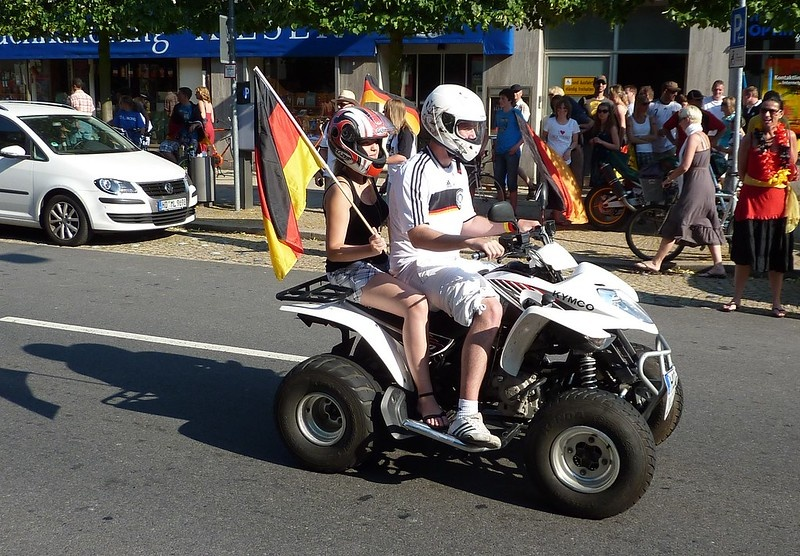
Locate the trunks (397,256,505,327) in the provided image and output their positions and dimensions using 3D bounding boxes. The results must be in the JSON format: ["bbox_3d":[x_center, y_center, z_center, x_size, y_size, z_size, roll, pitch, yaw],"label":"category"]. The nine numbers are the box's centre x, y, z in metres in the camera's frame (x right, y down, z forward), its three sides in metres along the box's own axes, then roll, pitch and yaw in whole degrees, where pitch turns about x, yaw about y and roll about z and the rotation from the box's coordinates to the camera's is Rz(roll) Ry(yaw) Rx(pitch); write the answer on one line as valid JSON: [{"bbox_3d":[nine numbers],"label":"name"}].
[{"bbox_3d":[0.331,0.028,5.512,0.638,0.232,0.378,27,55,28],"label":"trunks"}]

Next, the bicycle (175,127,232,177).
[{"bbox_3d":[-4.248,-2.774,16.739,1.239,0.926,0.856,0,14,9],"label":"bicycle"}]

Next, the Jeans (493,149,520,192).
[{"bbox_3d":[1.933,-1.951,14.175,0.405,1.021,0.297,3,13,19],"label":"Jeans"}]

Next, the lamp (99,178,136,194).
[{"bbox_3d":[-4.485,-1.459,12.264,0.252,0.182,0.410,30,17,13],"label":"lamp"}]

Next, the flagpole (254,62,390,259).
[{"bbox_3d":[-0.884,-1.120,6.361,0.557,0.209,2.541,-15,47,3],"label":"flagpole"}]

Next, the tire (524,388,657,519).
[{"bbox_3d":[1.281,1.191,5.242,0.599,0.692,0.223,-21,-6,20],"label":"tire"}]

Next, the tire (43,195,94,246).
[{"bbox_3d":[-5.290,-0.911,12.392,0.670,0.810,0.235,-3,0,6],"label":"tire"}]

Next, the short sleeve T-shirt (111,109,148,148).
[{"bbox_3d":[-6.489,-3.687,18.683,0.714,0.987,0.419,4,42,-9],"label":"short sleeve T-shirt"}]

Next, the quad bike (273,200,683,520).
[{"bbox_3d":[0.650,0.267,6.179,2.552,2.125,1.937,2,12,19],"label":"quad bike"}]

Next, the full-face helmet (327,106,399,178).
[{"bbox_3d":[-0.326,-1.080,5.914,0.524,0.488,0.420,25,25,27],"label":"full-face helmet"}]

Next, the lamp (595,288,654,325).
[{"bbox_3d":[1.527,0.169,5.349,0.440,0.121,0.206,40,25,-1],"label":"lamp"}]

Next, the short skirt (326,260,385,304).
[{"bbox_3d":[-0.341,-0.027,5.879,0.393,0.173,0.250,23,29,18],"label":"short skirt"}]

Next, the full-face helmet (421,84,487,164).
[{"bbox_3d":[0.396,-1.178,5.657,0.479,0.515,0.446,17,18,12],"label":"full-face helmet"}]

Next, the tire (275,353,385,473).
[{"bbox_3d":[-0.562,0.984,5.876,0.789,0.936,0.356,6,22,16],"label":"tire"}]

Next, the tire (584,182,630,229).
[{"bbox_3d":[3.581,-1.251,13.343,0.846,1.005,0.351,5,13,27],"label":"tire"}]

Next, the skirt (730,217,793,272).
[{"bbox_3d":[4.234,-0.402,9.269,0.622,0.969,0.580,-2,1,-9],"label":"skirt"}]

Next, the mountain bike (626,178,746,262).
[{"bbox_3d":[4.174,-0.880,11.717,1.716,1.241,0.862,5,12,21],"label":"mountain bike"}]
